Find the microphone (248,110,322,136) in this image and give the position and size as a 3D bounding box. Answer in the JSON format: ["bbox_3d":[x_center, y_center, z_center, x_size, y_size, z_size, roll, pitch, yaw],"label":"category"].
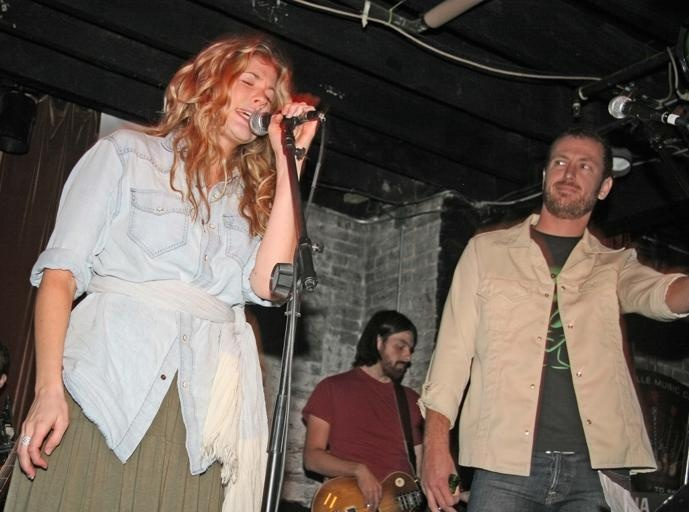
[{"bbox_3d":[-0.217,-0.475,2.650,0.277,0.099,0.105,-7,-3,24],"label":"microphone"}]

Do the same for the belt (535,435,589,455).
[{"bbox_3d":[0.847,0.738,2.790,0.198,0.073,0.011,5,-13,4],"label":"belt"}]

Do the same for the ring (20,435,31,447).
[{"bbox_3d":[-0.927,0.532,2.064,0.027,0.033,0.010,-3,-3,14],"label":"ring"}]
